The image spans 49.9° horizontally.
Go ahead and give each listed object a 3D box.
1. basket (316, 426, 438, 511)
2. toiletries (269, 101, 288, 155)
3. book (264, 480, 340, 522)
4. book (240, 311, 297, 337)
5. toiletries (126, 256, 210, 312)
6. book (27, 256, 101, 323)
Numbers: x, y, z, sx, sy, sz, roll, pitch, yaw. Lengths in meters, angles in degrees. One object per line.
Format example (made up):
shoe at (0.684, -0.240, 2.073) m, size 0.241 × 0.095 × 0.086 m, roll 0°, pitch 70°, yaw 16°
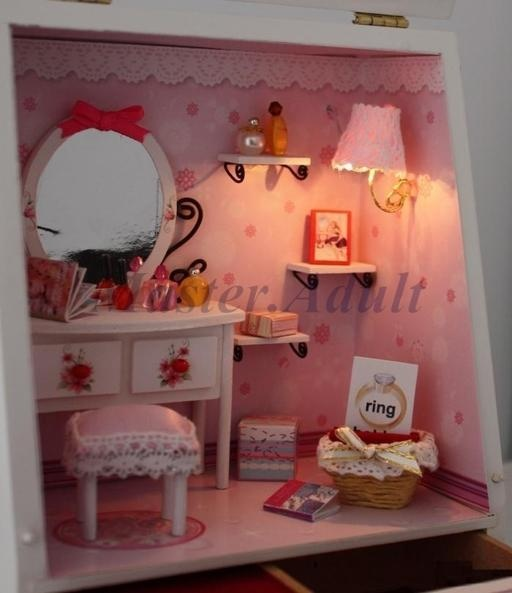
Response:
basket at (0.440, 0.609, 2.001) m, size 0.422 × 0.278 × 0.326 m, roll 0°, pitch -2°, yaw 17°
toiletries at (0.090, -0.696, 2.301) m, size 0.087 × 0.253 × 0.180 m, roll 1°, pitch -2°, yaw 2°
book at (0.164, 0.717, 1.940) m, size 0.220 × 0.041 × 0.223 m, roll -1°, pitch 5°, yaw 24°
book at (0.052, 0.109, 2.284) m, size 0.119 × 0.073 × 0.162 m, roll 1°, pitch 2°, yaw 39°
toiletries at (-0.328, -0.108, 2.111) m, size 0.338 × 0.207 × 0.170 m, roll -5°, pitch 7°, yaw -30°
book at (-0.641, -0.028, 1.815) m, size 0.226 × 0.217 × 0.226 m, roll 2°, pitch -2°, yaw -21°
